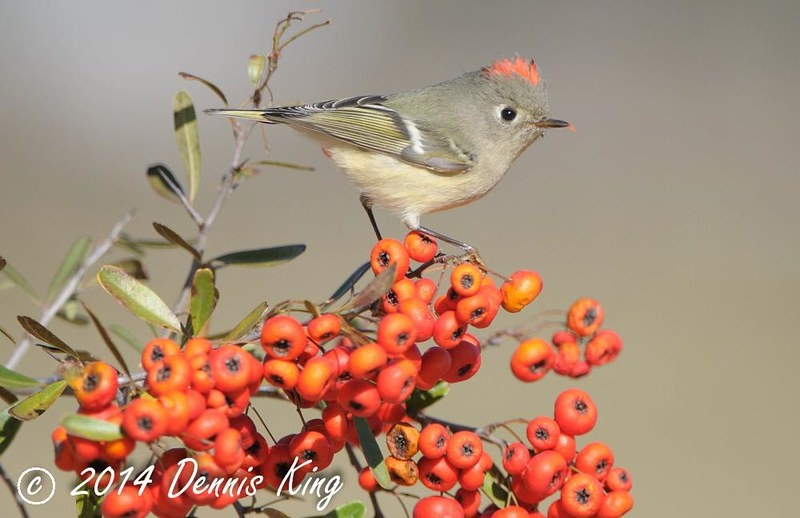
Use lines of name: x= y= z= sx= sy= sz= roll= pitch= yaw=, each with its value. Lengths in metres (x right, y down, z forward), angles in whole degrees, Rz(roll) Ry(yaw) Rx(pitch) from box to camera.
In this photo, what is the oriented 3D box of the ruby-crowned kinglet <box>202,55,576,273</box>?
ruby-crowned kinglet: x=-0.129 y=-0.499 z=3.981 sx=1.482 sy=0.502 sz=0.936 roll=5 pitch=-74 yaw=0
